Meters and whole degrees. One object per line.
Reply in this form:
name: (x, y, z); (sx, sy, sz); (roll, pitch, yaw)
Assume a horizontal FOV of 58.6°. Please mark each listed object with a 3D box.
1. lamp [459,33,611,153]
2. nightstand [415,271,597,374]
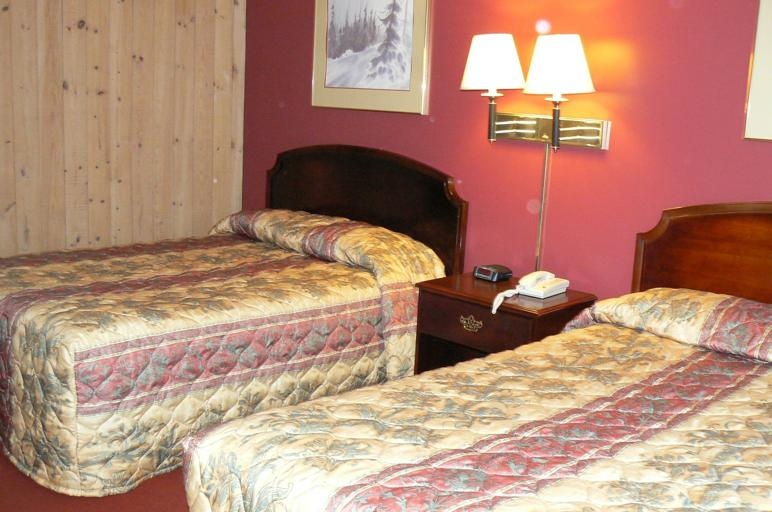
lamp: (0.823, -0.961, 3.897); (0.705, 0.661, 0.359); (12, 18, 41)
nightstand: (0.681, 0.306, 3.969); (0.662, 0.720, 0.790); (-9, 15, -40)
